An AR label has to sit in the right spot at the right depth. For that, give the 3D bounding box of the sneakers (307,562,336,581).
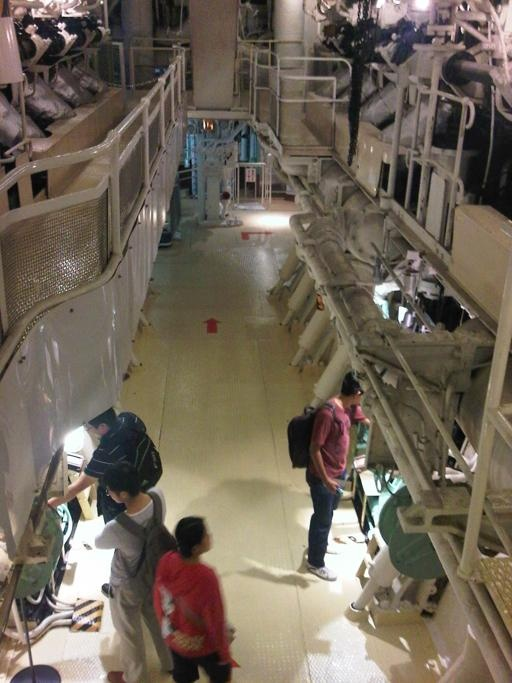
[{"bbox_3d":[0.725,2.528,5.217,0.300,0.137,0.134,18,37,15],"label":"sneakers"}]

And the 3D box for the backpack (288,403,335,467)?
[{"bbox_3d":[0.498,0.928,4.627,0.359,0.732,0.269,-8,25,-18],"label":"backpack"}]
